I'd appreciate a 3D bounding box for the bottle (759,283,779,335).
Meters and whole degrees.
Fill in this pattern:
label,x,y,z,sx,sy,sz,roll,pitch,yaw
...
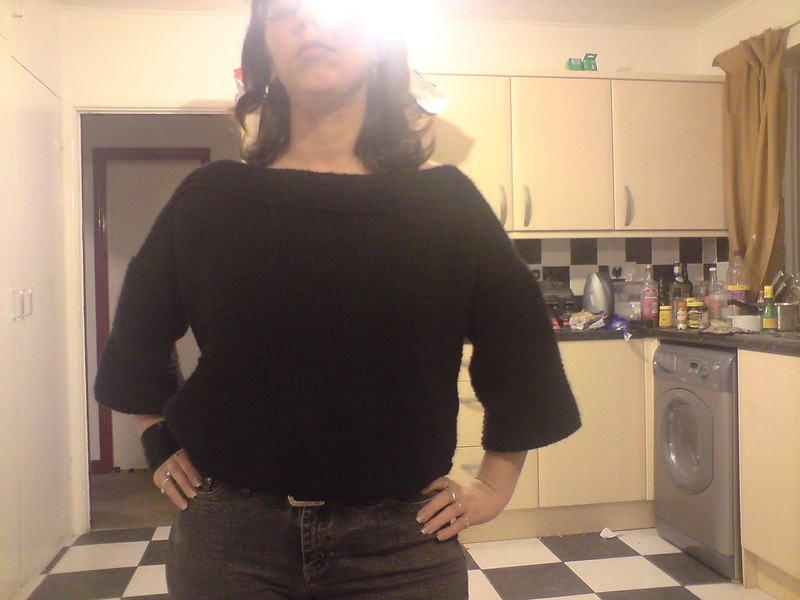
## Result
label,x,y,z,sx,sy,sz,roll,pitch,yaw
bottle,1.772,0.042,3.393,0.068,0.209,0.107,2,6,26

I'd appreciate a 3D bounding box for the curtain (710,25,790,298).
label,x,y,z,sx,sy,sz,roll,pitch,yaw
curtain,1.853,-0.712,3.777,0.365,1.356,0.186,2,7,32

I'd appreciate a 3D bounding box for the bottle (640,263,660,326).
label,x,y,z,sx,sy,sz,roll,pitch,yaw
bottle,1.348,0.005,3.825,0.093,0.229,0.221,1,6,19
